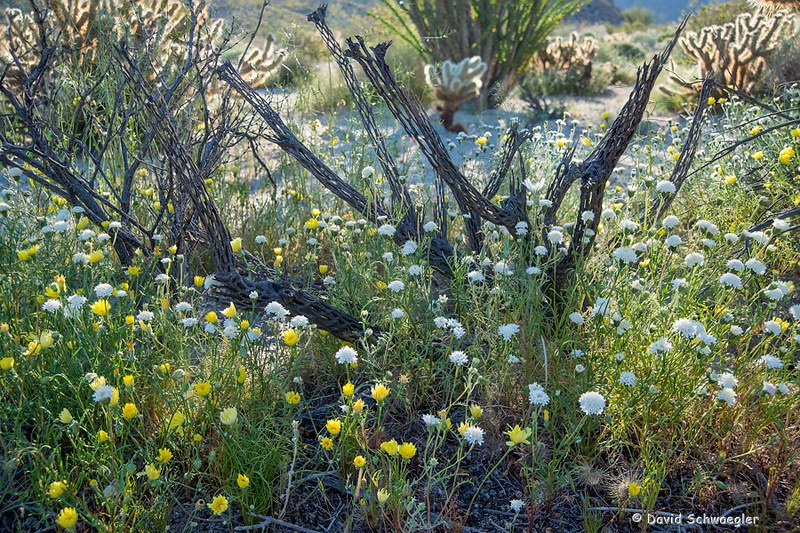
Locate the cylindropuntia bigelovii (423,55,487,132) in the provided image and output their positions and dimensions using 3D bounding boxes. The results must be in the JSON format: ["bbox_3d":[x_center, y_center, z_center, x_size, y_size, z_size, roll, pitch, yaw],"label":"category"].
[{"bbox_3d":[0.766,-2.414,10.268,0.835,1.301,0.928,5,22,22],"label":"cylindropuntia bigelovii"}]

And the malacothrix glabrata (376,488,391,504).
[{"bbox_3d":[-0.074,1.088,3.731,0.072,0.096,0.083,0,-4,-4],"label":"malacothrix glabrata"}]

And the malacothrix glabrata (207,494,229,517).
[{"bbox_3d":[-0.876,1.157,3.800,0.100,0.119,0.051,15,-5,-8],"label":"malacothrix glabrata"}]
